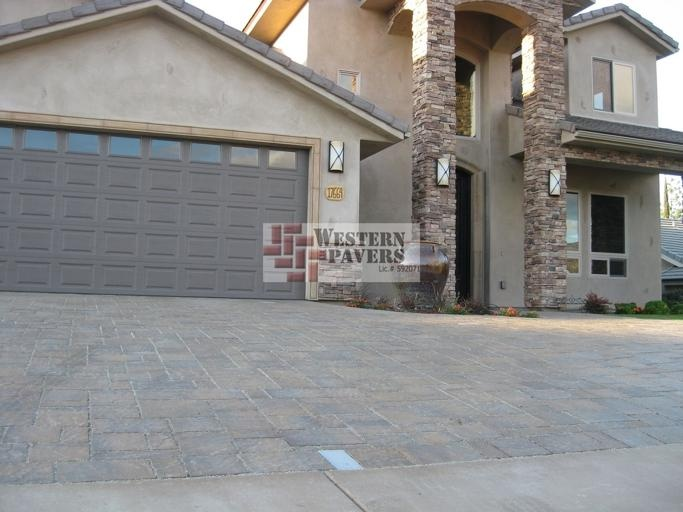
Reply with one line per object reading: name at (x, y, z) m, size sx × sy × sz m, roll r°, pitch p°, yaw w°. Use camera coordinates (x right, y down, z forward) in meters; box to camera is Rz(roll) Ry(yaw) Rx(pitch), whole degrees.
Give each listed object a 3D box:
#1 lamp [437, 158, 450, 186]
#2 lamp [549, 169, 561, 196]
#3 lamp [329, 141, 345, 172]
lamp at (2.444, -1.979, 13.903) m, size 0.356 × 0.678 × 0.198 m, roll 3°, pitch 5°, yaw -11°
lamp at (5.618, -1.910, 15.211) m, size 0.422 × 0.685 × 0.157 m, roll 2°, pitch 5°, yaw -30°
lamp at (-0.106, -2.146, 12.592) m, size 0.367 × 0.712 × 0.174 m, roll 4°, pitch 5°, yaw -9°
